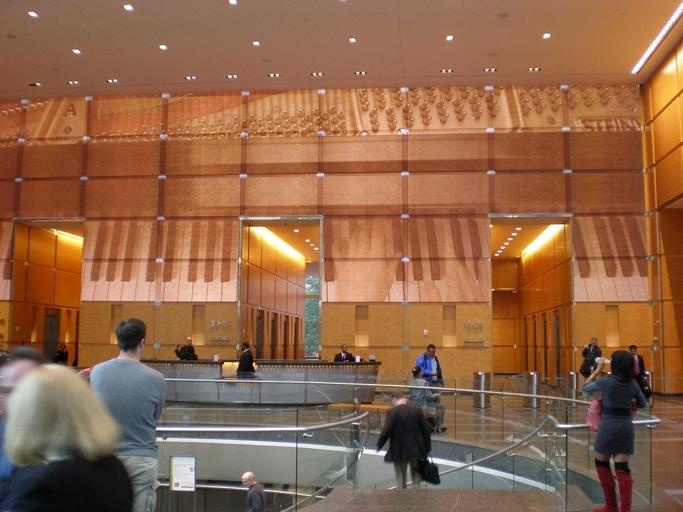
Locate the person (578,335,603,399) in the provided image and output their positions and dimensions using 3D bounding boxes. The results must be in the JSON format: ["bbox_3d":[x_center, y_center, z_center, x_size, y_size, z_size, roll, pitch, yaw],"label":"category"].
[{"bbox_3d":[7.034,3.112,16.360,0.451,1.535,0.584,3,2,-36],"label":"person"}]

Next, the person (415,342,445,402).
[{"bbox_3d":[1.876,2.643,12.207,0.634,1.454,0.544,5,-7,-29],"label":"person"}]

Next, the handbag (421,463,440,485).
[{"bbox_3d":[1.219,3.015,8.057,0.247,0.308,0.265,-2,-16,4],"label":"handbag"}]

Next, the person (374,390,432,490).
[{"bbox_3d":[0.878,2.611,8.144,0.711,1.280,0.676,-3,-16,6],"label":"person"}]

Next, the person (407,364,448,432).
[{"bbox_3d":[1.607,2.685,10.723,0.666,1.194,0.527,3,-14,-28],"label":"person"}]
